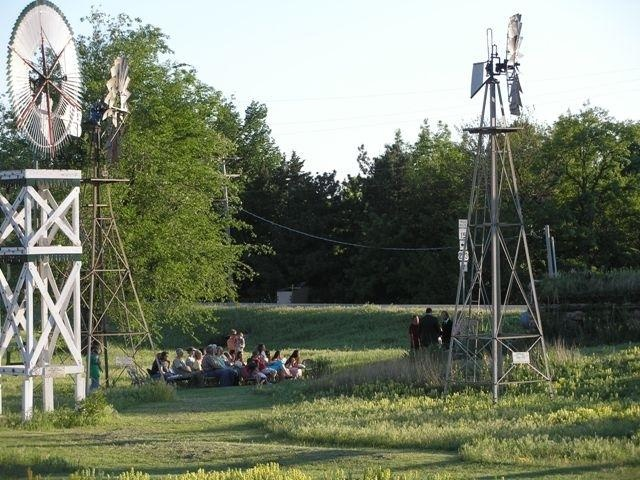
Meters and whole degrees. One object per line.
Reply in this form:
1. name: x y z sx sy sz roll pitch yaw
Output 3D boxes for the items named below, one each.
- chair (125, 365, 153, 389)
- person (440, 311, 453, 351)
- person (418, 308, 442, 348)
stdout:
1. chair: -6.504 5.096 48.208 1.032 0.533 1.217 0 -7 35
2. person: 4.687 3.392 48.957 0.395 1.468 1.301 -2 -7 6
3. person: 4.106 3.319 49.265 0.799 1.502 0.721 -2 -7 5
